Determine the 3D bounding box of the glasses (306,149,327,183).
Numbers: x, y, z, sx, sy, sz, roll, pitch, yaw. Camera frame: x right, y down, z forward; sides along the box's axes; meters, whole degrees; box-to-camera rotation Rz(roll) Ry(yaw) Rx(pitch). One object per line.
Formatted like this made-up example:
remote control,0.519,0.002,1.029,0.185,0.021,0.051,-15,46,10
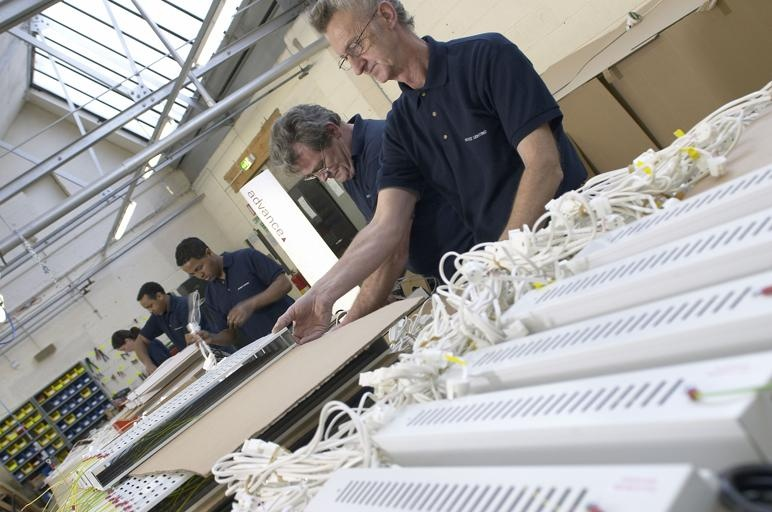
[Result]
glasses,-0.288,-0.385,2.258,0.029,0.112,0.099,3,-9,-20

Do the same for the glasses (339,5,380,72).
glasses,-0.077,-0.684,1.644,0.125,0.036,0.137,141,150,-78

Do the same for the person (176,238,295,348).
person,-1.019,0.242,3.645,0.491,0.861,0.563,-19,-46,-45
